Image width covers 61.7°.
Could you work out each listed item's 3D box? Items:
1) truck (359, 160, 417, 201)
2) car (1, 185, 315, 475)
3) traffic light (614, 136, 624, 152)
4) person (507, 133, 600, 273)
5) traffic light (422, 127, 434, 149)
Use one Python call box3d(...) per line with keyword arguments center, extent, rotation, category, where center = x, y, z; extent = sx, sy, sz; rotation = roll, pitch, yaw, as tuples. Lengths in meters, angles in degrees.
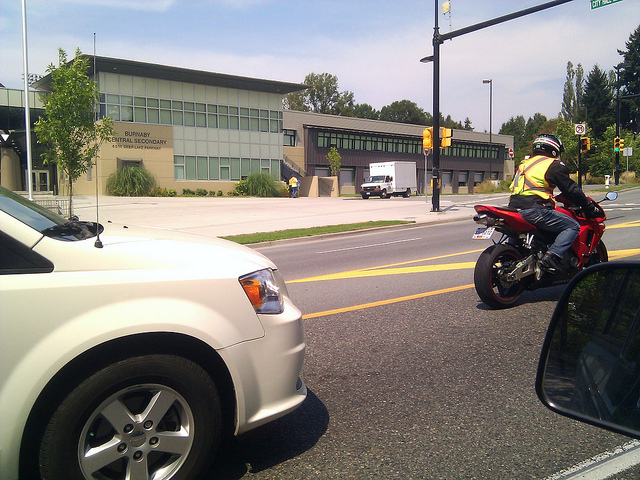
box3d(center=(6.164, -5.430, 48.528), extent=(5.669, 3.372, 2.685), rotation=(-2, 1, -45), category="truck")
box3d(center=(-1.155, 0.506, 3.747), extent=(2.213, 1.548, 1.337), rotation=(-3, 6, -16), category="car")
box3d(center=(24.780, -7.981, 44.378), extent=(0.378, 1.296, 6.539), rotation=(2, 9, 32), category="traffic light")
box3d(center=(3.038, -0.505, 7.140), extent=(1.004, 1.821, 0.617), rotation=(1, 7, 23), category="person")
box3d(center=(5.186, -4.911, 25.748), extent=(0.441, 0.959, 1.501), rotation=(-1, 7, 8), category="traffic light")
